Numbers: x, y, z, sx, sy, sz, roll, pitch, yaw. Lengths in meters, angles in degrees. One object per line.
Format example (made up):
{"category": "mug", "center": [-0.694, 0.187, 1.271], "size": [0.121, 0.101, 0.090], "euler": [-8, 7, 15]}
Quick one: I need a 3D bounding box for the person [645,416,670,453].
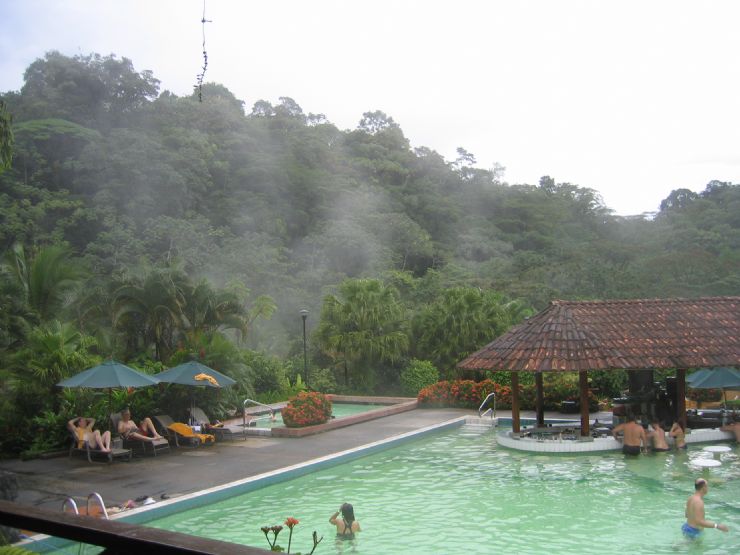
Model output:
{"category": "person", "center": [9.290, 5.130, 19.936], "size": [0.815, 1.256, 0.946], "euler": [-2, 2, 5]}

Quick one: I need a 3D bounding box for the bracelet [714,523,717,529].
{"category": "bracelet", "center": [6.944, 4.986, 12.264], "size": [0.091, 0.047, 0.130], "euler": [-3, -6, 27]}

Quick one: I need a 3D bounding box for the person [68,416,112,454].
{"category": "person", "center": [-8.145, 4.568, 17.676], "size": [1.836, 0.960, 0.780], "euler": [-5, -8, 28]}

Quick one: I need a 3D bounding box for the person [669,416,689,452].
{"category": "person", "center": [10.212, 5.209, 20.259], "size": [0.486, 0.888, 1.011], "euler": [-4, -8, 25]}

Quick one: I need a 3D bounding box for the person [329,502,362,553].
{"category": "person", "center": [-0.509, 4.996, 12.338], "size": [0.612, 0.759, 1.147], "euler": [-1, -8, -3]}

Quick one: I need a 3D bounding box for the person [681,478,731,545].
{"category": "person", "center": [6.937, 4.774, 12.861], "size": [0.721, 1.127, 1.398], "euler": [-4, -8, 26]}

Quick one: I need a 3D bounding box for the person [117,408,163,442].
{"category": "person", "center": [-7.276, 4.573, 19.024], "size": [1.790, 1.249, 0.849], "euler": [-5, -8, 20]}
